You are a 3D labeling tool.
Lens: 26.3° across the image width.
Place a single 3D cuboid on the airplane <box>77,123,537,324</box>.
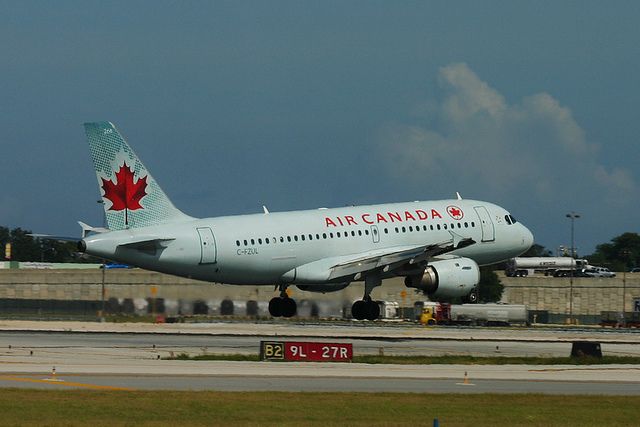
[{"bbox_3d":[1.078,0.534,97.147,36.965,12.012,35.667,-3,7,-41],"label":"airplane"}]
